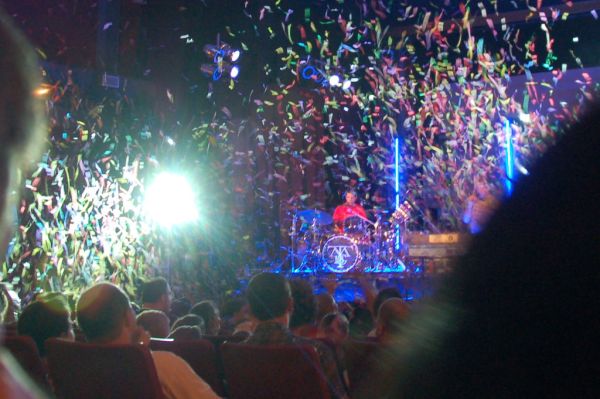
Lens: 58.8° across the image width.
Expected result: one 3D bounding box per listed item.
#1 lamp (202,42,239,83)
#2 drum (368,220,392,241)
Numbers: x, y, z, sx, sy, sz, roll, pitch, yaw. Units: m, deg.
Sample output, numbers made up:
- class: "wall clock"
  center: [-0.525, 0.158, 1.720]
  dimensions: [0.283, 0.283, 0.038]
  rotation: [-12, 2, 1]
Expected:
- class: "lamp"
  center: [-1.195, -2.153, 8.115]
  dimensions: [0.537, 0.576, 0.217]
  rotation: [20, 32, 7]
- class: "drum"
  center: [1.191, 0.440, 7.707]
  dimensions: [0.229, 0.338, 0.336]
  rotation: [5, 3, -22]
